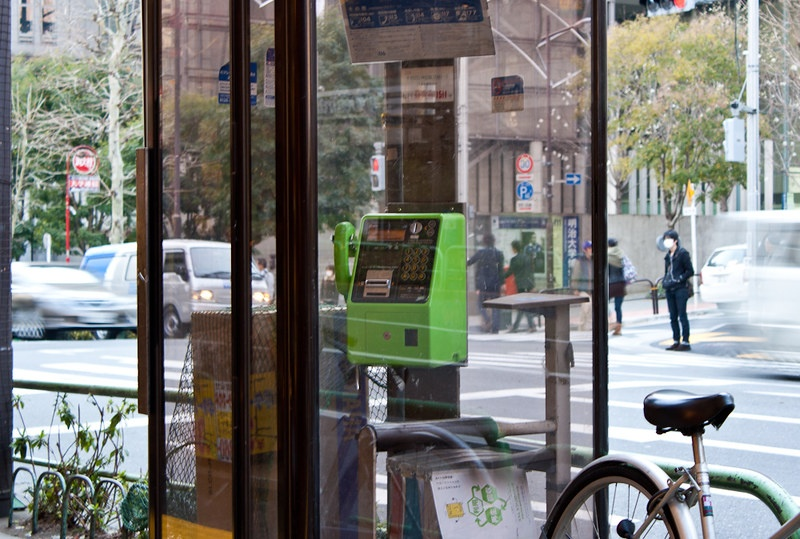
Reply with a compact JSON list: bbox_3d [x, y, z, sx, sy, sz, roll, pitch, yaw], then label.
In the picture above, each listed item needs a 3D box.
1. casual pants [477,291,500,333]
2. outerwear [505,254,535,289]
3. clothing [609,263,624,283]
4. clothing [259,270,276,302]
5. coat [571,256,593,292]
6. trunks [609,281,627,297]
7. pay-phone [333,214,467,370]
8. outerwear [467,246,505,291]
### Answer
[{"bbox_3d":[0.515,0.265,5.647,0.136,0.267,0.146,-5,-22,21],"label":"casual pants"},{"bbox_3d":[0.735,0.036,5.607,0.135,0.224,0.104,4,-18,-21],"label":"outerwear"},{"bbox_3d":[2.897,0.042,12.605,0.173,0.195,0.043,-9,-23,38],"label":"clothing"},{"bbox_3d":[-0.711,0.078,5.114,0.082,0.174,0.016,1,2,41],"label":"clothing"},{"bbox_3d":[1.071,0.017,5.554,0.161,0.198,0.073,0,-5,1],"label":"coat"},{"bbox_3d":[2.941,0.261,12.760,0.239,0.231,0.359,-2,-2,17],"label":"trunks"},{"bbox_3d":[-0.030,0.095,5.475,0.712,1.021,0.458,1,2,26],"label":"pay-phone"},{"bbox_3d":[0.532,0.011,5.643,0.139,0.295,0.199,-17,1,19],"label":"outerwear"}]
